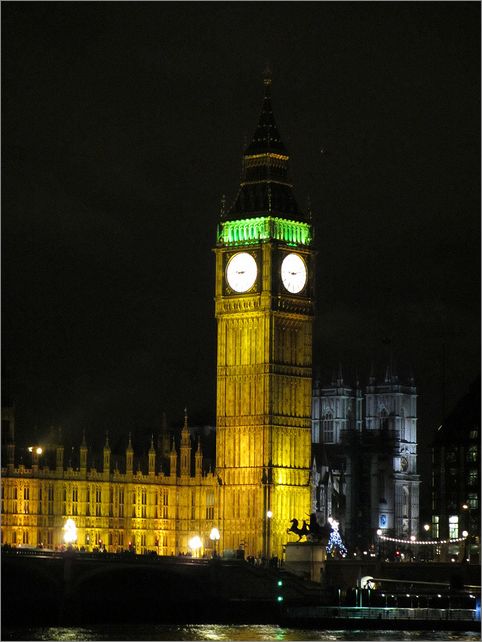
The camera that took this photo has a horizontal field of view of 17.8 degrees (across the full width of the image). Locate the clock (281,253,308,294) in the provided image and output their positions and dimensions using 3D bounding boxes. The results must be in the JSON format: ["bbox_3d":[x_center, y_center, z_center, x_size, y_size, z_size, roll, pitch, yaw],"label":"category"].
[{"bbox_3d":[3.834,-3.560,109.437,0.251,2.552,1.988,-4,-11,30],"label":"clock"}]
